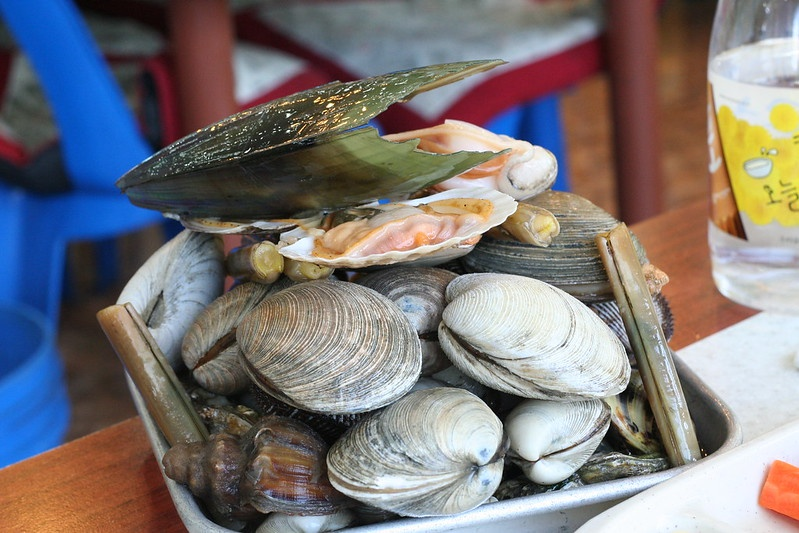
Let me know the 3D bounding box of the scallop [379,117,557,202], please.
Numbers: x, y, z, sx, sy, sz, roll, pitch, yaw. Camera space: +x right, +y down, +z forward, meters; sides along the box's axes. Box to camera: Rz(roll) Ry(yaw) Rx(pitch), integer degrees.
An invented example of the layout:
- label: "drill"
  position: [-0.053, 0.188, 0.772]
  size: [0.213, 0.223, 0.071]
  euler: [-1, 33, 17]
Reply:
- label: "scallop"
  position: [0.060, -0.095, 0.731]
  size: [0.158, 0.062, 0.193]
  euler: [3, -1, 28]
